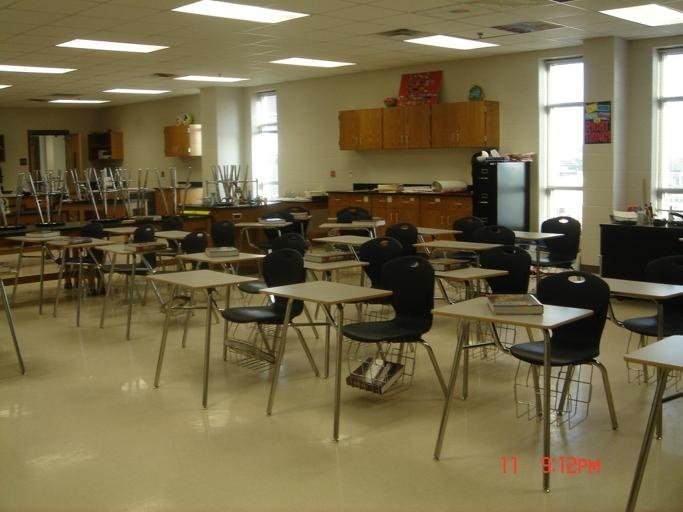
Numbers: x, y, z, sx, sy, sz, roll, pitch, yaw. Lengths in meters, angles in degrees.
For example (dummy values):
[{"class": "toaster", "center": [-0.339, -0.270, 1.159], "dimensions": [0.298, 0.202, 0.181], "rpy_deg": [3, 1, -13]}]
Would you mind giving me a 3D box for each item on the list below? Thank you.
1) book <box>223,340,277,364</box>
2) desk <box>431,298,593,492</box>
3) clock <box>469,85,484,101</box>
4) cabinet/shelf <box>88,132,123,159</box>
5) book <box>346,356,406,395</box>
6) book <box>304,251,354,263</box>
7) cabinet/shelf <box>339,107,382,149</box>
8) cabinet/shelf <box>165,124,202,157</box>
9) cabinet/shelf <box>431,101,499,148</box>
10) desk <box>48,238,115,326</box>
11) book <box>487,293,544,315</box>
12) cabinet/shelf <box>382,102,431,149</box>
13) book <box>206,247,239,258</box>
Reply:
[{"class": "book", "center": [-0.807, 0.766, 4.570], "dimensions": [0.388, 0.070, 0.357], "rpy_deg": [15, -5, -27]}, {"class": "desk", "center": [0.979, 0.711, 3.683], "dimensions": [1.259, 1.002, 1.184], "rpy_deg": [4, 8, 43]}, {"class": "clock", "center": [2.371, -2.810, 9.561], "dimensions": [0.342, 0.182, 0.299], "rpy_deg": [0, -1, 16]}, {"class": "cabinet/shelf", "center": [-7.105, -3.367, 16.609], "dimensions": [1.150, 0.625, 0.372], "rpy_deg": [4, 5, 37]}, {"class": "book", "center": [0.265, 0.892, 4.087], "dimensions": [0.363, 0.068, 0.331], "rpy_deg": [2, 20, 32]}, {"class": "book", "center": [-0.128, 0.006, 5.056], "dimensions": [0.426, 0.095, 0.250], "rpy_deg": [-4, 8, -4]}, {"class": "cabinet/shelf", "center": [0.685, -2.513, 10.933], "dimensions": [0.774, 0.774, 1.314], "rpy_deg": [-13, 17, -38]}, {"class": "cabinet/shelf", "center": [-3.962, -2.920, 13.864], "dimensions": [0.622, 0.578, 1.099], "rpy_deg": [-4, 7, -43]}, {"class": "cabinet/shelf", "center": [2.175, -2.300, 9.737], "dimensions": [1.171, 0.620, 0.598], "rpy_deg": [7, 16, 39]}, {"class": "desk", "center": [-2.971, 0.299, 7.167], "dimensions": [1.203, 0.974, 0.984], "rpy_deg": [-9, 5, -14]}, {"class": "book", "center": [1.081, 0.302, 3.388], "dimensions": [0.327, 0.080, 0.288], "rpy_deg": [-1, 8, 12]}, {"class": "cabinet/shelf", "center": [1.405, -2.415, 10.302], "dimensions": [0.580, 0.774, 1.137], "rpy_deg": [-14, 18, -39]}, {"class": "book", "center": [-1.148, -0.034, 5.306], "dimensions": [0.312, 0.083, 0.207], "rpy_deg": [-5, 8, -11]}]
